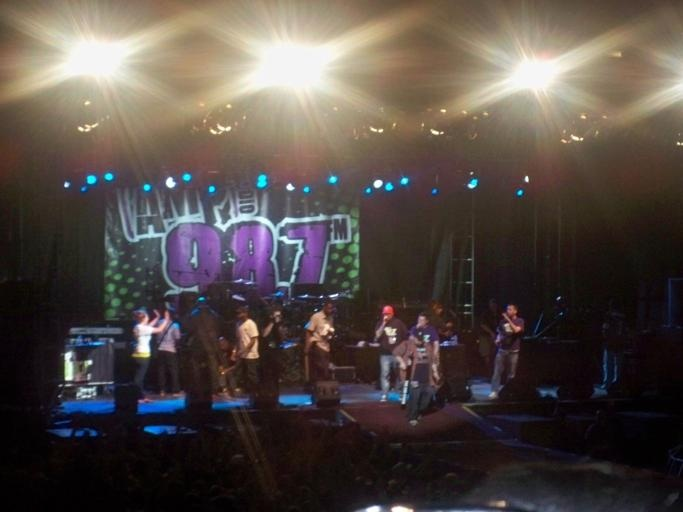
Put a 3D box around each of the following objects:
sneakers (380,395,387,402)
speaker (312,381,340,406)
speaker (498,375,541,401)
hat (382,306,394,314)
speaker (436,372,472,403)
[{"bbox_3d":[0.965,3.238,14.497,0.099,0.102,0.253,-1,-13,7],"label":"sneakers"},{"bbox_3d":[-0.302,2.966,13.872,0.494,0.486,0.518,0,-3,-10],"label":"speaker"},{"bbox_3d":[3.864,2.835,13.978,0.590,0.364,0.598,-1,-3,-3],"label":"speaker"},{"bbox_3d":[1.026,1.175,14.402,0.243,0.213,0.387,-2,-11,15],"label":"hat"},{"bbox_3d":[2.461,2.920,14.148,0.610,0.439,0.617,0,0,-7],"label":"speaker"}]
